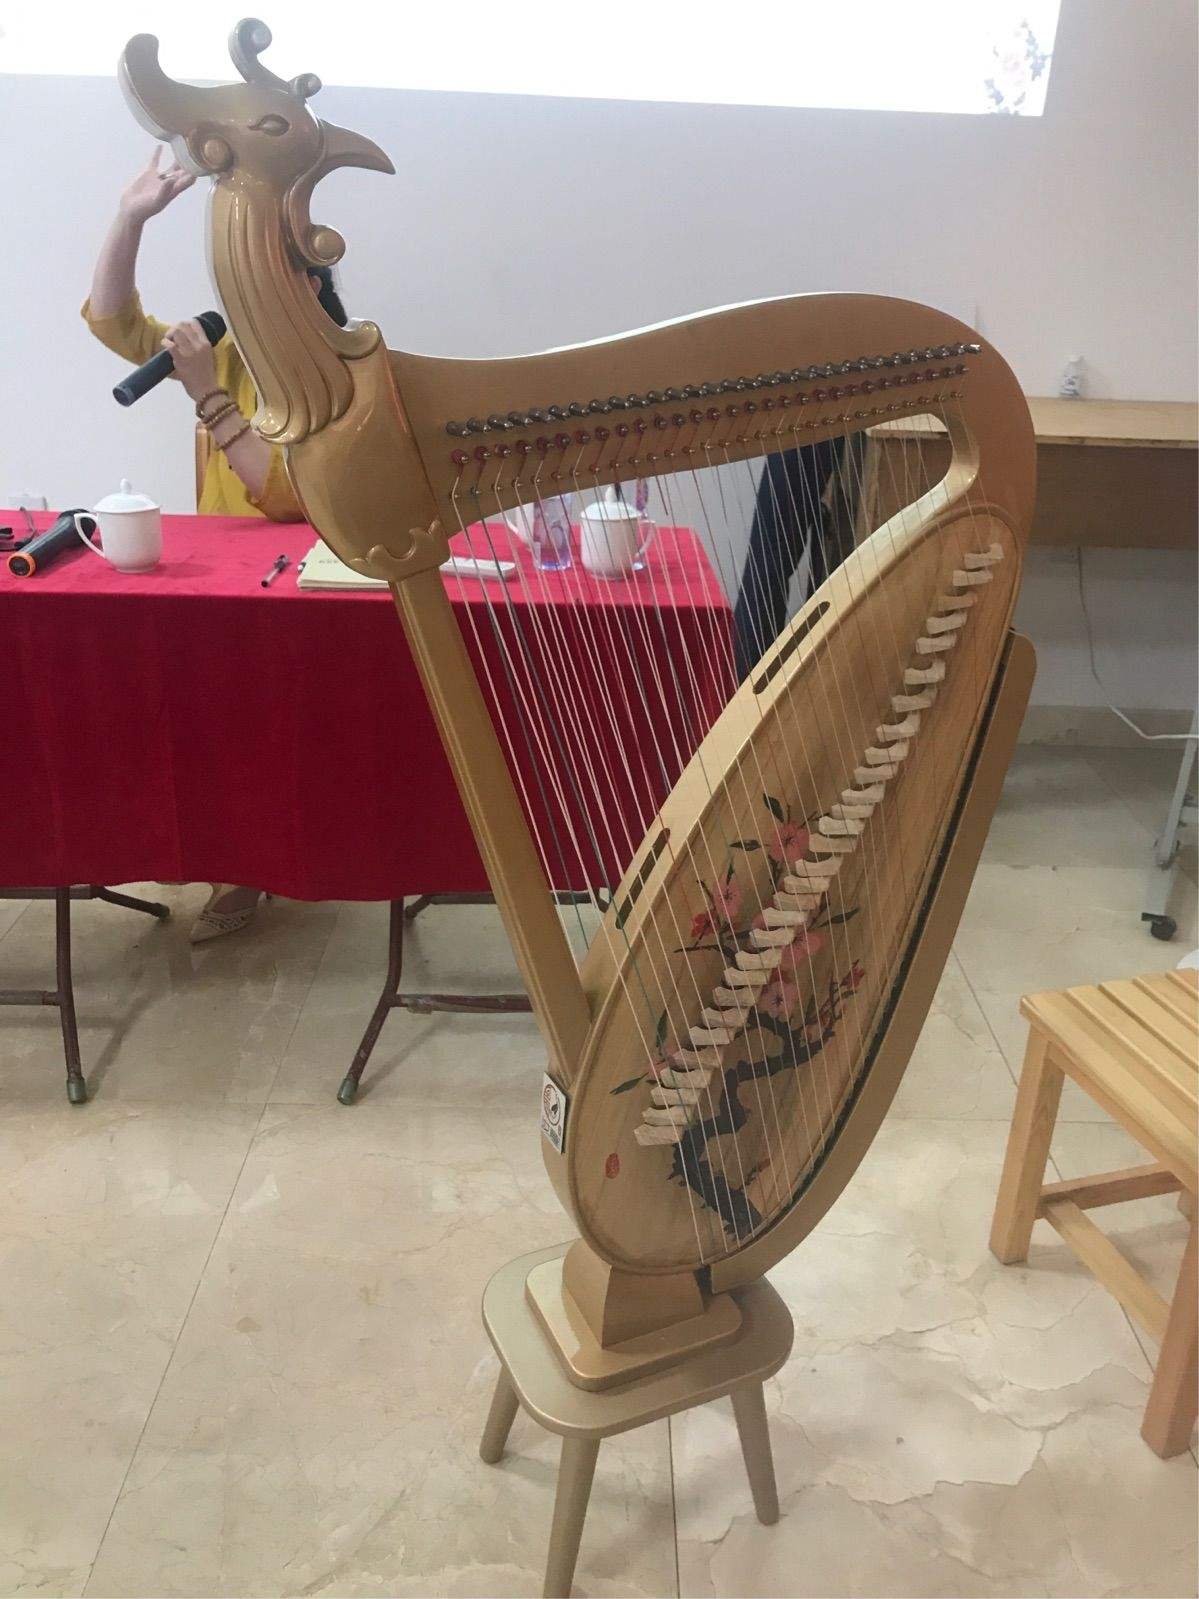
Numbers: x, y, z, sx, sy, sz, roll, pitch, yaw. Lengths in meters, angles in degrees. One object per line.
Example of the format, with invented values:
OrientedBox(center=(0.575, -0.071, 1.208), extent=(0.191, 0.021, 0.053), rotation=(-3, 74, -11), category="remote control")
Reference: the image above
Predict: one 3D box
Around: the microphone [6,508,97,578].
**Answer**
OrientedBox(center=(-0.861, -0.424, 2.293), extent=(0.068, 0.073, 0.224), rotation=(-13, 20, 10), category="microphone")

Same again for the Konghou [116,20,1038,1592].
OrientedBox(center=(0.053, 0.022, 1.604), extent=(0.689, 1.577, 0.928), rotation=(-7, 27, -5), category="Konghou")
